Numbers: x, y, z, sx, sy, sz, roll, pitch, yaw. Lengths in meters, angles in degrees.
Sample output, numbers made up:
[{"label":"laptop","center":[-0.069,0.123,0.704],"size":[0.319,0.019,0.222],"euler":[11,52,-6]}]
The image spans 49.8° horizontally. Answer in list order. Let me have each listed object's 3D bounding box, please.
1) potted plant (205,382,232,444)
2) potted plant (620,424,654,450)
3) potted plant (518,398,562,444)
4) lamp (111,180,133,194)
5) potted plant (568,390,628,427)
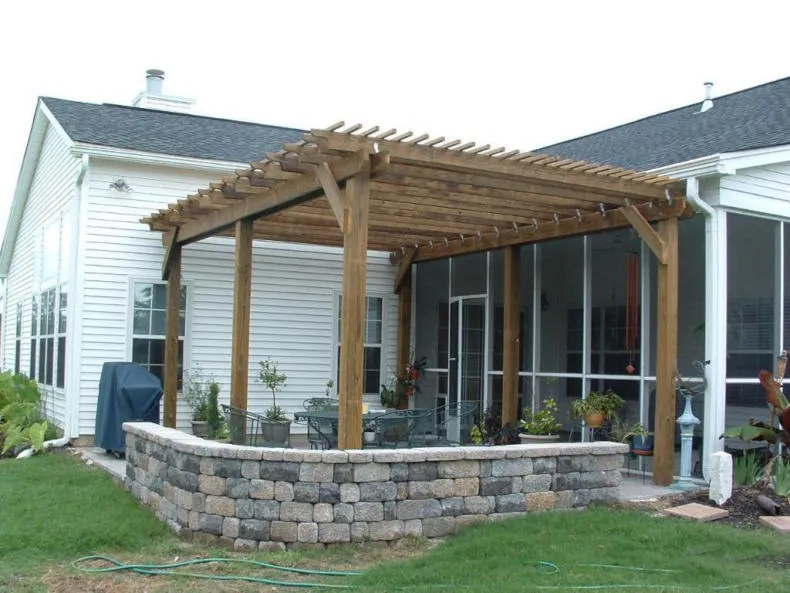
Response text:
[{"label":"potted plant","center":[-2.724,1.736,13.125],"size":[0.317,0.897,1.406],"euler":[-3,7,-12]},{"label":"potted plant","center":[3.314,1.924,11.655],"size":[0.220,0.261,0.396],"euler":[1,-3,-20]},{"label":"potted plant","center":[2.147,1.885,12.821],"size":[0.641,0.818,0.643],"euler":[-1,1,-23]},{"label":"lamp","center":[-4.435,-1.799,13.856],"size":[0.168,0.226,0.314],"euler":[5,10,40]},{"label":"potted plant","center":[2.919,1.585,12.167],"size":[0.581,0.392,0.568],"euler":[-1,-3,-10]}]
